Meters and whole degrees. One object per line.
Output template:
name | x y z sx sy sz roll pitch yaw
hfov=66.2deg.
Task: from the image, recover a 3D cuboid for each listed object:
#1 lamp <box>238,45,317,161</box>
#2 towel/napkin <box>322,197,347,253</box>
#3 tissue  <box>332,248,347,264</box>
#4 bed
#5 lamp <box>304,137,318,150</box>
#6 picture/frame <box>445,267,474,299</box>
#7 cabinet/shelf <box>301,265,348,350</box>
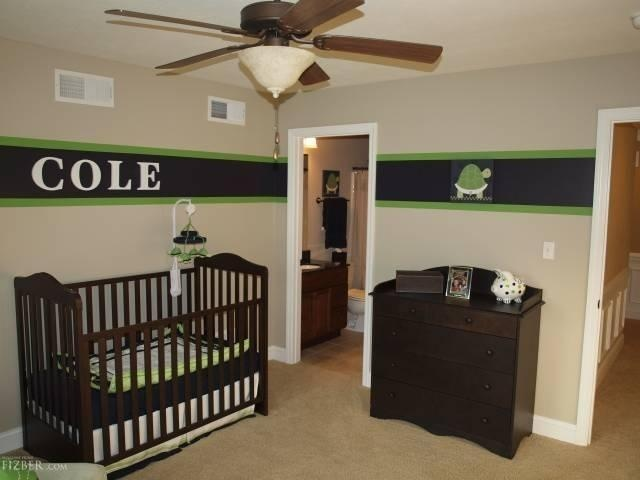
lamp | -0.228 -0.790 2.556 0.288 0.305 0.281 2 0 -43
towel/napkin | 0.222 -0.208 6.288 0.370 0.663 0.124 -6 13 -29
tissue  | 0.231 0.195 6.264 0.185 0.225 0.188 6 7 41
bed | -1.391 0.751 4.036 1.218 1.520 1.770 8 12 41
lamp | -0.110 -1.150 5.815 0.200 0.123 0.197 -2 29 -2
picture/frame | 1.102 0.335 3.853 0.245 0.322 0.025 1 -21 29
cabinet/shelf | 0.033 0.735 5.511 0.496 0.789 0.937 2 2 39
